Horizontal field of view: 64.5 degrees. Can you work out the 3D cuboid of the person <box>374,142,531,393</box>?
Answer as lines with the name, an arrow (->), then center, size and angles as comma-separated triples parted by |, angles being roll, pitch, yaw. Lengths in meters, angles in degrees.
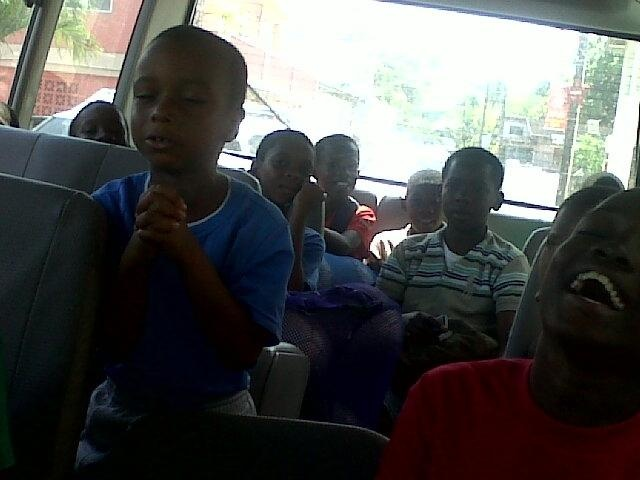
person -> 0.482, 0.100, 1.779 | 0.574, 0.893, 0.482 | 5, -15, 30

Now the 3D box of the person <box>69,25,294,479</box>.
person -> -0.214, 0.018, 0.912 | 0.362, 0.795, 0.348 | 8, 5, -26
